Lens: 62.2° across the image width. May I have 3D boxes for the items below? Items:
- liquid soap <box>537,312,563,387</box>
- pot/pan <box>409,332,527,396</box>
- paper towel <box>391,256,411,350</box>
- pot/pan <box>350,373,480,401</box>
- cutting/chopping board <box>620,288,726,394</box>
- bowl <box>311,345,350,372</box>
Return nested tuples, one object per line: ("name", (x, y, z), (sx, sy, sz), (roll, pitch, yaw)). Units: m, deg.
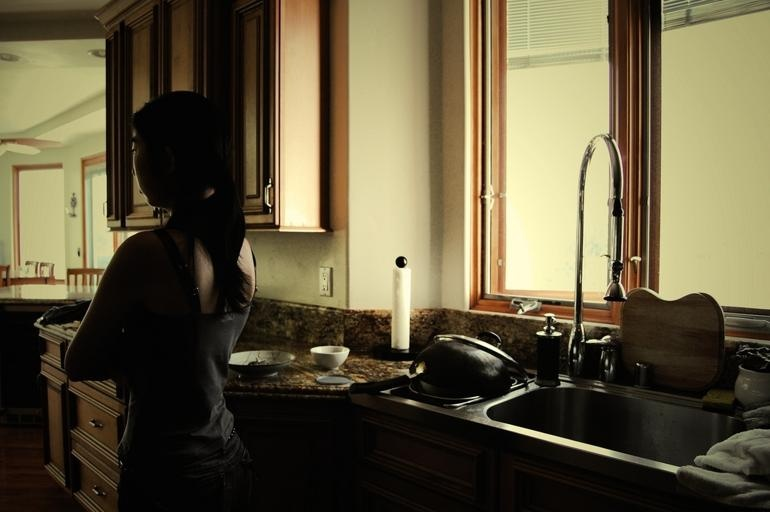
("liquid soap", (0.735, 0.411, 2.828), (0.089, 0.302, 0.151), (1, 3, 42))
("pot/pan", (0.348, 0.467, 2.812), (0.499, 0.222, 0.458), (8, 9, -24))
("paper towel", (0.090, 0.218, 3.150), (0.101, 0.443, 0.104), (-6, -10, 27))
("pot/pan", (0.057, 0.554, 2.708), (0.322, 0.055, 0.197), (-2, 0, -16))
("cutting/chopping board", (1.227, 0.364, 2.764), (0.045, 0.418, 0.406), (3, -1, -44))
("bowl", (-0.258, 0.477, 3.011), (0.164, 0.095, 0.207), (-1, 3, -6))
